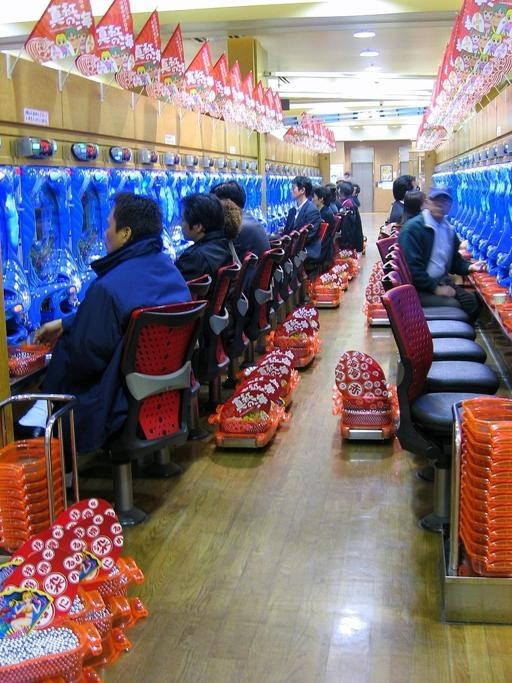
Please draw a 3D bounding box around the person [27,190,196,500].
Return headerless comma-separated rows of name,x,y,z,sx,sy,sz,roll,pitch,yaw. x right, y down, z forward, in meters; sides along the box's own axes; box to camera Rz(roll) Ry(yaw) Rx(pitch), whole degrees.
person,-0.530,-0.114,1.884,0.352,1.016,0.507,-1,2,28
